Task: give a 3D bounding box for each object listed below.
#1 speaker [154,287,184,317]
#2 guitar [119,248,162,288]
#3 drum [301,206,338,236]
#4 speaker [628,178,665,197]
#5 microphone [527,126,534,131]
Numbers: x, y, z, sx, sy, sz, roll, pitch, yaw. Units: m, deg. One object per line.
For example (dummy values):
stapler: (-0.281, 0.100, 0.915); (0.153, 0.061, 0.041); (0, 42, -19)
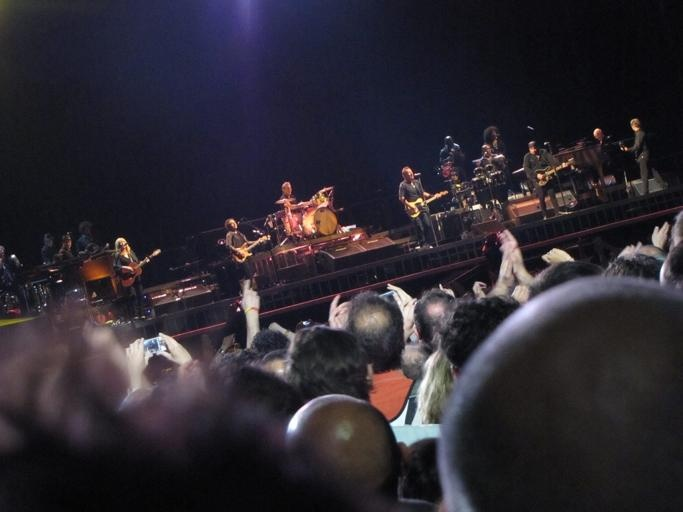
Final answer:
speaker: (-2.640, 0.668, 7.701); (0.522, 0.306, 0.355); (-18, 36, -29)
guitar: (-3.130, 0.152, 7.958); (0.116, 0.347, 0.828); (-18, 28, 54)
drum: (-0.411, -0.599, 9.135); (0.525, 0.576, 0.579); (-17, 9, -22)
speaker: (5.060, -1.129, 8.348); (0.575, 0.370, 0.335); (-6, 8, -11)
microphone: (3.838, -2.600, 10.187); (0.117, 0.048, 0.024); (23, -30, -16)
